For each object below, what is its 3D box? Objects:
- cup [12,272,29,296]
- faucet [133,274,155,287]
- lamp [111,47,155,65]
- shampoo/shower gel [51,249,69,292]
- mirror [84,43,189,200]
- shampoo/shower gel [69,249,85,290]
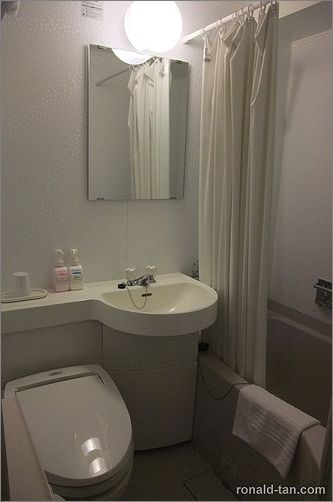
[{"bbox_3d":[-0.605,0.134,1.521,0.063,0.088,0.098,1,14,-11],"label":"cup"},{"bbox_3d":[-0.113,0.128,1.764,0.079,0.042,0.051,-19,17,-38],"label":"faucet"},{"bbox_3d":[-0.165,-0.879,1.638,0.083,0.027,0.084,34,56,19],"label":"lamp"},{"bbox_3d":[-0.480,0.086,1.634,0.071,0.178,0.094,-2,14,-22],"label":"shampoo/shower gel"},{"bbox_3d":[-0.160,-0.630,1.701,0.576,0.890,0.144,-7,23,-26],"label":"mirror"},{"bbox_3d":[-0.419,0.083,1.660,0.065,0.179,0.078,1,13,-8],"label":"shampoo/shower gel"}]
